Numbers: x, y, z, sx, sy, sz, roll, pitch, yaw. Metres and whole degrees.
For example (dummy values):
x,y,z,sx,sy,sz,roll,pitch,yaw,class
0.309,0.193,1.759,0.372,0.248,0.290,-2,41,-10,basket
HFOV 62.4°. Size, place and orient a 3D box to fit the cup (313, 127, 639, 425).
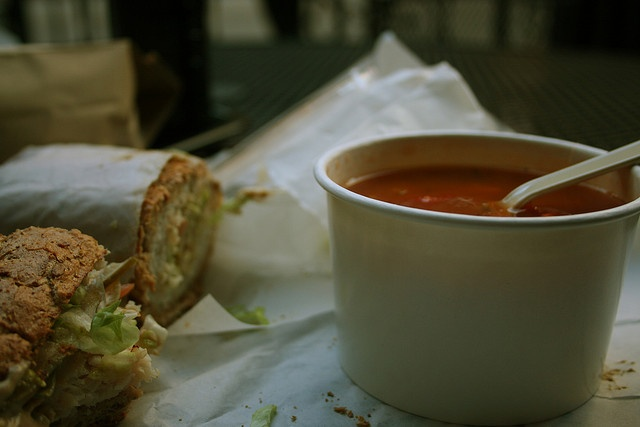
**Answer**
x,y,z,sx,sy,sz,roll,pitch,yaw,class
0.190,0.023,0.902,0.455,0.287,0.460,1,17,0,cup
